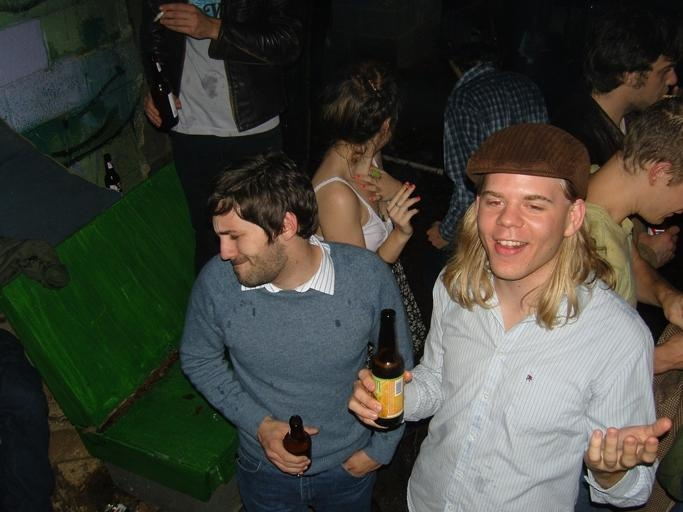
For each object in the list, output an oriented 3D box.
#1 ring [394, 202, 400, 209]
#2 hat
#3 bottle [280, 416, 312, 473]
[{"bbox_3d":[0.328,-0.297,3.274,0.031,0.008,0.031,0,39,0],"label":"ring"},{"bbox_3d":[0.784,-0.436,2.341,0.385,0.255,0.526,7,2,29],"label":"hat"},{"bbox_3d":[-0.201,0.885,2.562,0.118,0.320,0.112,-1,9,0],"label":"bottle"}]
